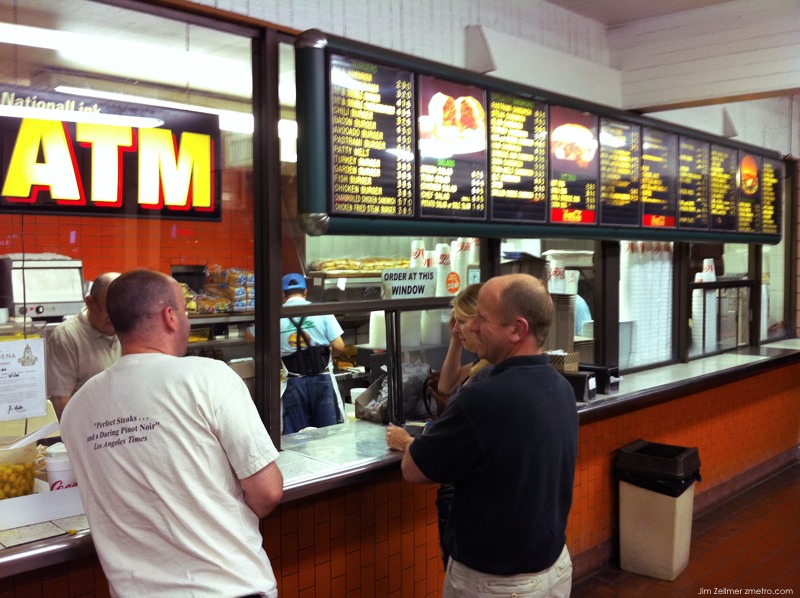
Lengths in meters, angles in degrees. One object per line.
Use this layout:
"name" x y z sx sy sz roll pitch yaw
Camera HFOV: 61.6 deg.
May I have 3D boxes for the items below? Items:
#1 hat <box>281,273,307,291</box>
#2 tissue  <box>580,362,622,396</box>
"hat" -0.514 -0.083 3.302 0.107 0.081 0.174 1 9 -4
"tissue " 1.386 0.540 4.586 0.170 0.205 0.311 1 -3 -36
